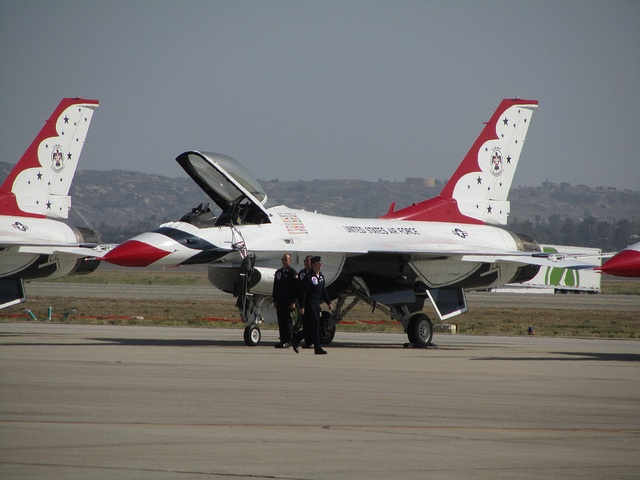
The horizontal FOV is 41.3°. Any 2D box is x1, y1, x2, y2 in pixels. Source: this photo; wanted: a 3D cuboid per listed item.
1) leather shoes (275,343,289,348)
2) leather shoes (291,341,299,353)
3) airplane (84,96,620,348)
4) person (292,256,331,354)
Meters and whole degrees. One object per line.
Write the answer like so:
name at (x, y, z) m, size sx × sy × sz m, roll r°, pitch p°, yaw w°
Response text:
leather shoes at (-0.775, 2.140, 17.216) m, size 0.266 × 0.087 × 0.116 m, roll -2°, pitch 0°, yaw 6°
leather shoes at (-0.494, 2.150, 16.812) m, size 0.098 × 0.276 × 0.110 m, roll -13°, pitch 40°, yaw 11°
airplane at (0.367, 0.211, 21.326) m, size 9.455 × 3.894 × 7.916 m, roll 1°, pitch -5°, yaw -37°
person at (-0.138, 1.317, 16.880) m, size 0.707 × 2.011 × 0.674 m, roll 4°, pitch 10°, yaw 6°
